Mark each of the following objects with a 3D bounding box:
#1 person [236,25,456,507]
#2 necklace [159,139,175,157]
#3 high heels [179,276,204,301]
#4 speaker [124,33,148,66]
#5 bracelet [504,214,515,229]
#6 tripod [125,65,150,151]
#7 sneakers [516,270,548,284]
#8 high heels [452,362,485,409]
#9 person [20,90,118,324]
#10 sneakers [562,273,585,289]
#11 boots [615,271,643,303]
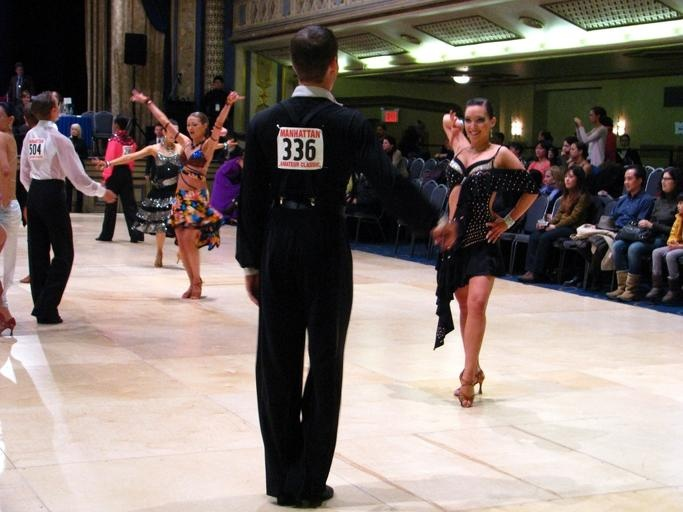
[{"bbox_3d":[-0.064,0.073,2.510,0.713,1.919,0.225,1,7,-7],"label":"person"},{"bbox_3d":[-2.470,-1.538,8.835,0.203,0.195,0.084,0,25,-15],"label":"necklace"},{"bbox_3d":[-1.655,0.349,6.882,0.213,0.235,0.197,-1,8,-16],"label":"high heels"},{"bbox_3d":[-5.872,-5.910,17.700,0.609,0.923,0.488,-1,8,-19],"label":"speaker"},{"bbox_3d":[1.071,-0.226,4.005,0.074,0.104,0.103,8,4,24],"label":"bracelet"},{"bbox_3d":[-5.919,-4.596,17.839,0.744,2.715,0.637,-11,27,-41],"label":"tripod"},{"bbox_3d":[2.553,0.295,8.387,0.400,0.179,0.148,3,0,-5],"label":"sneakers"},{"bbox_3d":[0.818,0.861,4.080,0.112,0.200,0.351,-2,-3,26],"label":"high heels"},{"bbox_3d":[-2.562,-0.285,5.596,0.894,1.787,0.401,5,8,25],"label":"person"},{"bbox_3d":[3.081,0.346,8.239,0.406,0.177,0.137,2,1,-28],"label":"sneakers"},{"bbox_3d":[3.394,0.350,7.331,0.264,0.348,0.225,3,8,13],"label":"boots"}]
